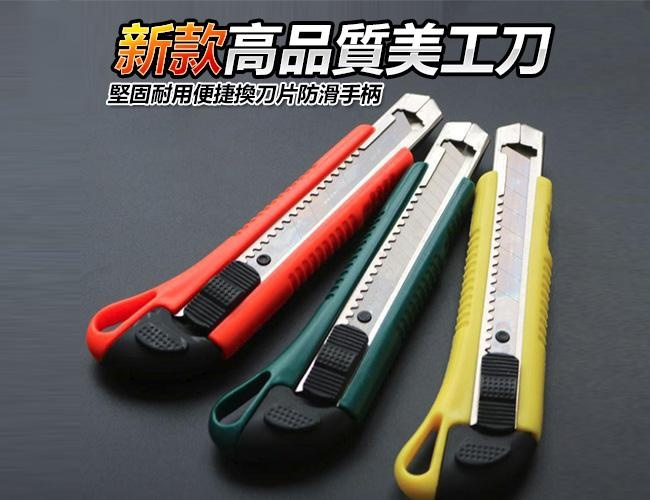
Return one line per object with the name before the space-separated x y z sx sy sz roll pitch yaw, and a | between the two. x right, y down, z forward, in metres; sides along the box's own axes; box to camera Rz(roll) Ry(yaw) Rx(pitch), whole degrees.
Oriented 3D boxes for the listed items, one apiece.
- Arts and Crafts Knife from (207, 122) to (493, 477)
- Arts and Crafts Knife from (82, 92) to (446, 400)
Arts and Crafts Knife | 0.091 0.053 0.968 0.205 0.105 0.743 16 54 25
Arts and Crafts Knife | -0.038 0.017 1.105 0.244 0.110 0.818 30 55 25
